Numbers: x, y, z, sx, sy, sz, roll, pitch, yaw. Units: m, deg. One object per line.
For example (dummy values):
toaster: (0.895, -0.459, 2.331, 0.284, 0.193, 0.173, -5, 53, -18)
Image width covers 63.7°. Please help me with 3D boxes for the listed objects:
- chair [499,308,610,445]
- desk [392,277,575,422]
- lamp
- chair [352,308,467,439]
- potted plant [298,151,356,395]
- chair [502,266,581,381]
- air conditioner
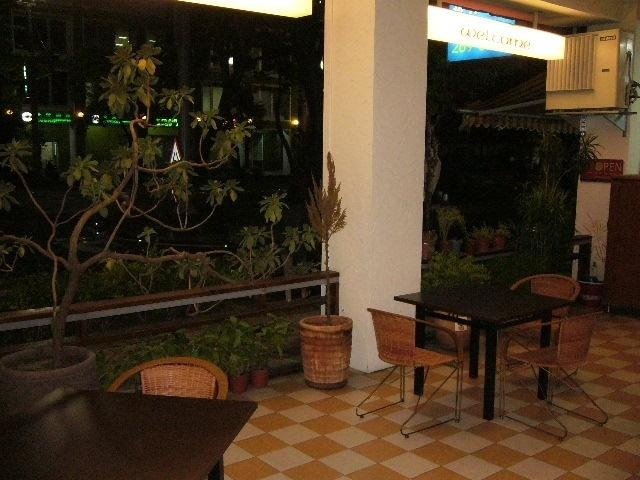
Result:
chair: (2.337, 1.275, 5.180, 0.921, 1.116, 0.992, -1, 3, 2)
desk: (1.740, 0.815, 5.452, 1.431, 1.126, 1.406, -4, 7, -38)
lamp: (2.235, -2.556, 6.393, 2.169, 0.414, 0.246, -4, 10, -27)
chair: (0.880, 1.243, 5.158, 0.829, 1.156, 0.865, -1, 4, -24)
potted plant: (0.091, 0.312, 5.962, 0.607, 2.612, 0.947, 1, 9, 3)
chair: (2.605, 1.041, 6.250, 0.786, 1.092, 0.843, -11, 4, -20)
air conditioner: (4.353, -2.699, 8.270, 1.456, 1.480, 0.815, 1, 1, 42)
